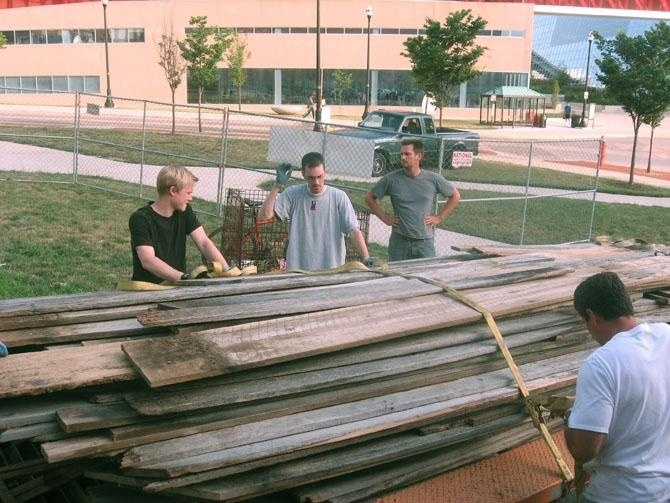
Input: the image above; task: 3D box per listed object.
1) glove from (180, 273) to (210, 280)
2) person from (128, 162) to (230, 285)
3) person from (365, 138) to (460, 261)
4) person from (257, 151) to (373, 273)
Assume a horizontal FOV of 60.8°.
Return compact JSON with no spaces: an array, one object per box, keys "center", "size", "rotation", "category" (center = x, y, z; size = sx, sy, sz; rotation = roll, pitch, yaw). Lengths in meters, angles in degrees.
[{"center":[-1.115,0.190,4.450],"size":[0.153,0.053,0.084],"rotation":[-7,1,6],"category":"glove"},{"center":[-1.356,-0.224,4.909],"size":[0.697,1.036,0.780],"rotation":[-7,13,-41],"category":"person"},{"center":[0.964,-0.666,7.395],"size":[1.143,1.562,0.516],"rotation":[2,10,3],"category":"person"},{"center":[-0.241,-0.422,5.947],"size":[1.115,1.215,0.391],"rotation":[1,10,-6],"category":"person"}]
